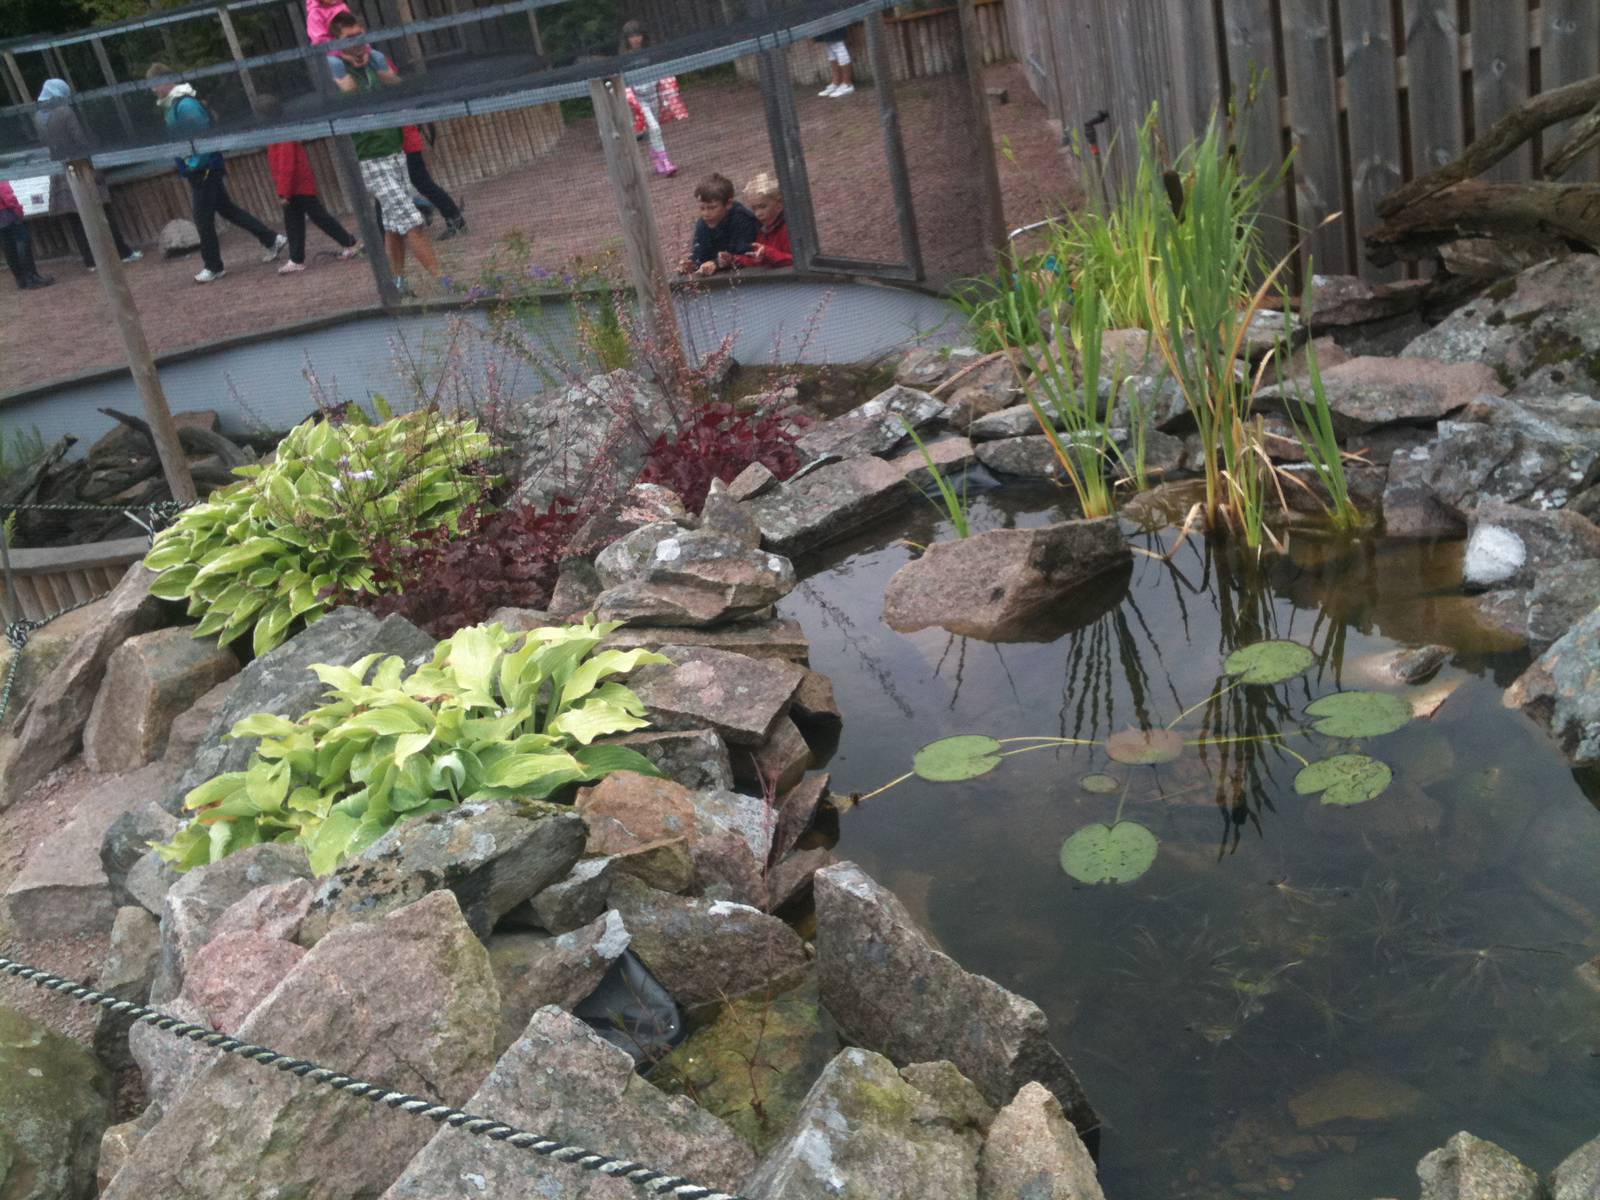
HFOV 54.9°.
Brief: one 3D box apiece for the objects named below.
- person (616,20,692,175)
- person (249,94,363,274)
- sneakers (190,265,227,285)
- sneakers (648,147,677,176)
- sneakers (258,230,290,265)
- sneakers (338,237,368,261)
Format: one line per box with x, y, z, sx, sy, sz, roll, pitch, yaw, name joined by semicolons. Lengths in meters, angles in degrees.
-0.846;-2.766;8.476;0.250;0.862;0.295;-5;16;25;person
-3.218;-2.775;10.017;0.523;1.166;0.414;-16;40;-20;person
-4.111;-2.304;10.821;0.255;0.141;0.100;2;29;6;sneakers
-0.778;-2.507;8.751;0.121;0.131;0.069;-17;26;32;sneakers
-3.575;-2.406;10.498;0.115;0.339;0.119;9;31;-30;sneakers
-2.917;-2.307;10.049;0.243;0.116;0.084;5;51;11;sneakers
